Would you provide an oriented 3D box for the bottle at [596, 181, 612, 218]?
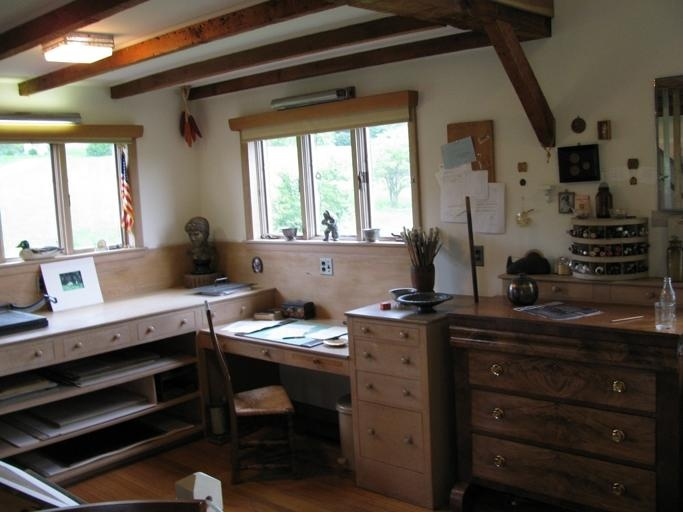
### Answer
[{"bbox_3d":[1.661,-0.349,3.273,0.099,0.222,0.092,-5,9,1],"label":"bottle"}]

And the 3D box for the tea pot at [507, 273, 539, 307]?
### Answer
[{"bbox_3d":[1.127,0.225,3.307,0.204,0.189,0.196,-2,-1,0],"label":"tea pot"}]

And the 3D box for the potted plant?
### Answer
[{"bbox_3d":[0.608,0.036,3.861,0.274,0.490,0.367,-3,9,15],"label":"potted plant"}]

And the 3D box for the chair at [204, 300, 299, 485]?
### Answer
[{"bbox_3d":[-0.668,0.974,4.089,0.618,1.305,0.998,-8,9,-15],"label":"chair"}]

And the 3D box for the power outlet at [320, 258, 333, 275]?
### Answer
[{"bbox_3d":[-0.123,0.100,4.490,0.158,0.171,0.024,1,4,38],"label":"power outlet"}]

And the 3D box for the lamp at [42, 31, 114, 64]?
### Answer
[{"bbox_3d":[-1.763,-1.412,3.509,0.326,0.149,0.370,1,10,34],"label":"lamp"}]
